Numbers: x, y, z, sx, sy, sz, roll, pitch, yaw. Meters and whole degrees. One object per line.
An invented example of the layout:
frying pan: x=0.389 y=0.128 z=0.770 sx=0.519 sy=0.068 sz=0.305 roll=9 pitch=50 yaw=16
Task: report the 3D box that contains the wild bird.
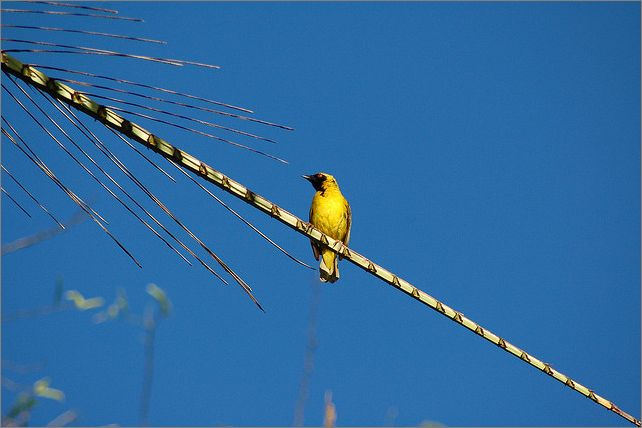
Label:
wild bird: x=0.026 y=0.023 z=3.756 sx=0.119 sy=0.165 sz=0.422 roll=-6 pitch=-90 yaw=-3
